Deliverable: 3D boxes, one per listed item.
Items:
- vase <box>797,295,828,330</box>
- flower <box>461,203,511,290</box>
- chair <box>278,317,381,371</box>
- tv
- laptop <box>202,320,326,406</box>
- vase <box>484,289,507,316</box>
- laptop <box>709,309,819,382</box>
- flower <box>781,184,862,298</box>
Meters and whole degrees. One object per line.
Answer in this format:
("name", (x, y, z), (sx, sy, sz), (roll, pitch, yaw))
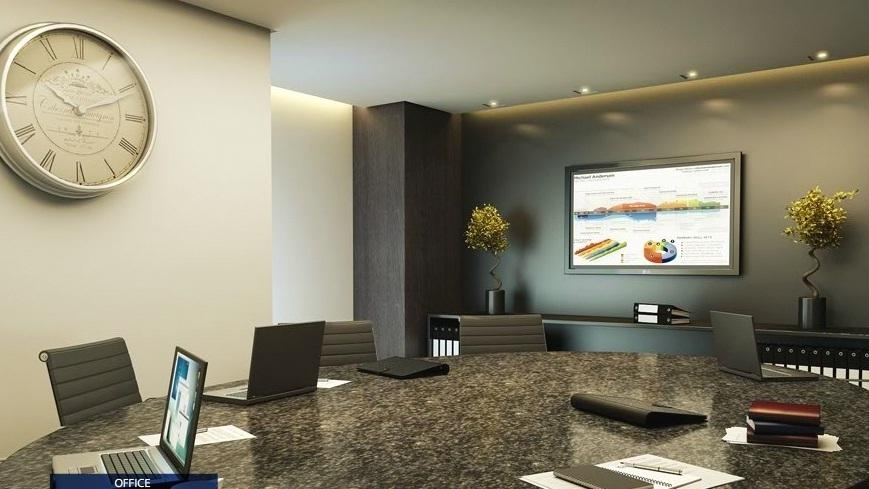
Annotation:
("vase", (4.038, 0.728, 5.579), (0.387, 0.348, 0.367), (-2, -2, 28))
("flower", (0.735, 0.047, 7.226), (0.599, 1.171, 0.662), (0, 9, 4))
("chair", (-0.826, 0.929, 4.904), (0.930, 0.490, 0.771), (-11, -18, 0))
("tv", (2.788, -0.379, 6.458), (2.064, 1.119, 0.049), (0, -3, 28))
("laptop", (-1.171, 0.750, 3.577), (0.658, 0.388, 0.617), (-2, -3, 34))
("vase", (0.803, 0.753, 6.888), (0.360, 0.310, 0.317), (0, -4, 6))
("laptop", (2.390, 0.734, 3.870), (0.638, 0.358, 0.527), (3, -3, -14))
("flower", (4.155, -0.013, 5.680), (0.580, 1.208, 0.590), (5, 11, 32))
